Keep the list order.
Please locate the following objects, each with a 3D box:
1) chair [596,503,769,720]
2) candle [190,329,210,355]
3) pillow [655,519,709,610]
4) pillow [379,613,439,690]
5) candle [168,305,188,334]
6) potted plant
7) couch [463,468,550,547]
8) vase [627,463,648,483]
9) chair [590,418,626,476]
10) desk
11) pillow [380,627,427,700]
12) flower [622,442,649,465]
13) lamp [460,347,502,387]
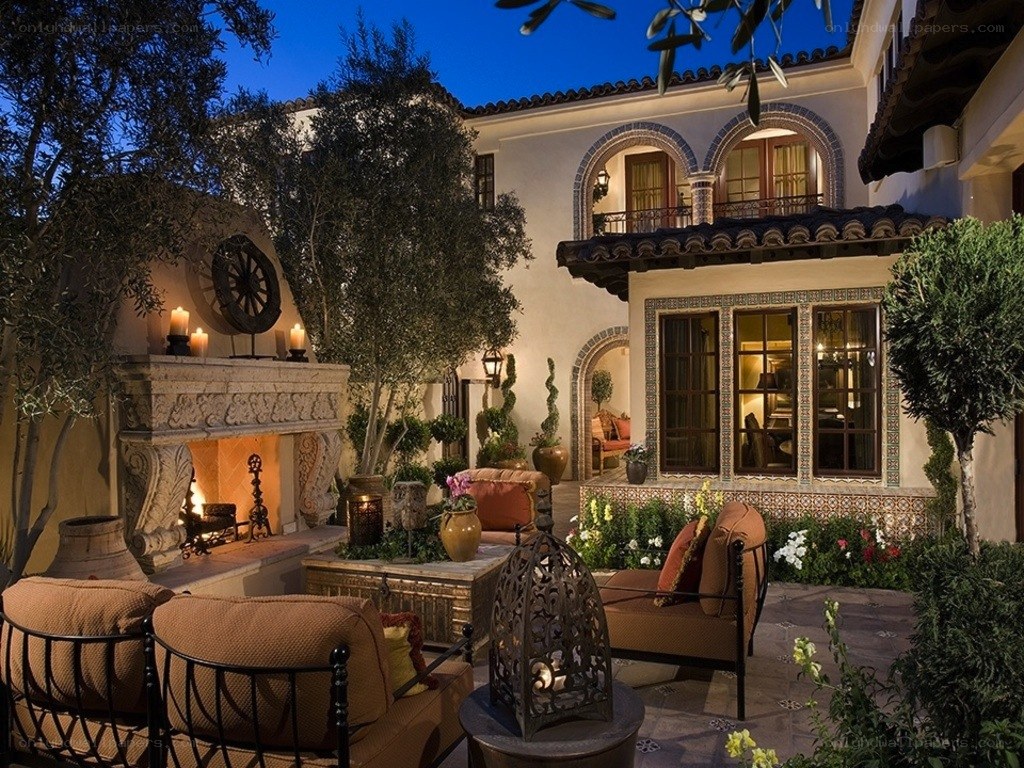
[{"bbox_3d":[1.338,1.433,5.744,1.103,1.271,1.514,0,-3,19],"label":"chair"},{"bbox_3d":[-2.901,-0.410,7.029,0.145,0.310,0.380,1,-4,-24],"label":"candle"},{"bbox_3d":[1.297,1.295,5.644,0.312,0.531,0.670,-2,2,25],"label":"pillow"},{"bbox_3d":[-0.584,1.480,4.193,0.117,0.426,0.414,-14,-6,15],"label":"pillow"},{"bbox_3d":[-3.015,-0.588,6.864,0.155,0.310,0.336,1,-4,-25],"label":"candle"},{"bbox_3d":[-0.920,1.416,12.844,1.715,3.403,3.303,-2,-3,34],"label":"potted plant"},{"bbox_3d":[-0.130,1.241,8.045,0.818,0.658,0.442,-2,5,21],"label":"couch"},{"bbox_3d":[1.444,1.011,8.744,0.208,0.188,0.222,-2,1,-3],"label":"vase"},{"bbox_3d":[1.925,1.290,15.437,0.348,0.712,1.101,0,1,20],"label":"chair"},{"bbox_3d":[-0.802,1.500,6.370,1.219,0.623,1.254,0,0,22],"label":"desk"},{"bbox_3d":[-0.609,1.536,4.237,0.194,0.396,0.370,12,-25,-32],"label":"pillow"},{"bbox_3d":[1.430,0.802,8.857,0.210,0.167,0.220,-1,1,41],"label":"flower"},{"bbox_3d":[-0.492,-0.316,14.399,0.613,0.984,0.709,-6,-4,23],"label":"lamp"}]
